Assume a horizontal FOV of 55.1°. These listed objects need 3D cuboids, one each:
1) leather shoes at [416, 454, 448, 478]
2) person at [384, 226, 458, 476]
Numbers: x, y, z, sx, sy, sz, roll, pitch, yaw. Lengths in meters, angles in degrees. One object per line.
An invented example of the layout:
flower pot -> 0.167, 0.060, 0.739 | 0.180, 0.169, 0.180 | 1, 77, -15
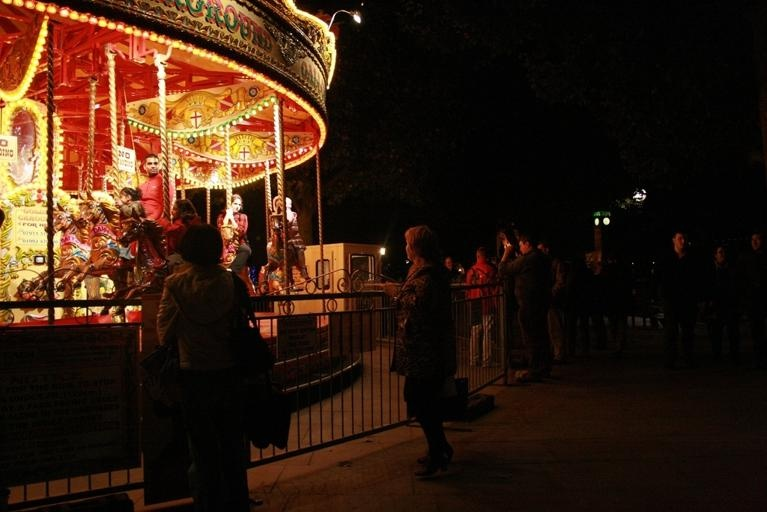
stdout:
leather shoes -> 0.621, 2.660, 9.334 | 0.370, 0.129, 0.272 | 0, -1, -7
person -> 0.525, 1.184, 9.349 | 0.756, 3.165, 0.329 | -2, -4, 0
